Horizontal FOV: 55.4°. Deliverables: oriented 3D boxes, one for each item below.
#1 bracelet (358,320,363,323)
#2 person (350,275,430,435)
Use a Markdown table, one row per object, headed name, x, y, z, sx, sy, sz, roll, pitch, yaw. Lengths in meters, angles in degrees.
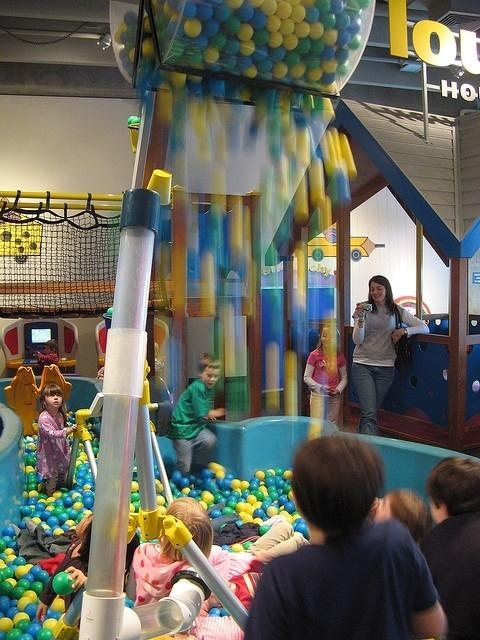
| name | x | y | z | sx | sy | sz | roll | pitch | yaw |
| --- | --- | --- | --- | --- | --- | --- | --- | --- | --- |
| bracelet | 0.817 | 0.008 | 3.084 | 0.045 | 0.029 | 0.021 | 1 | -2 | -22 |
| person | 1.001 | 0.252 | 3.254 | 0.580 | 1.115 | 0.272 | 2 | -3 | -35 |
